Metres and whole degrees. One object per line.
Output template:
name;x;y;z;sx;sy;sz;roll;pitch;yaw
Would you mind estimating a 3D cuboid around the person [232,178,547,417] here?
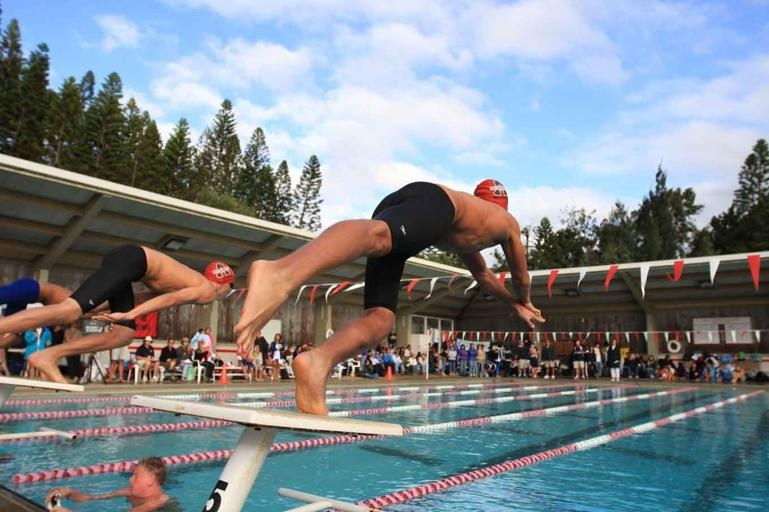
person;0.250;0.205;3.302;0.661;1.486;2.819;-4;-5;43
